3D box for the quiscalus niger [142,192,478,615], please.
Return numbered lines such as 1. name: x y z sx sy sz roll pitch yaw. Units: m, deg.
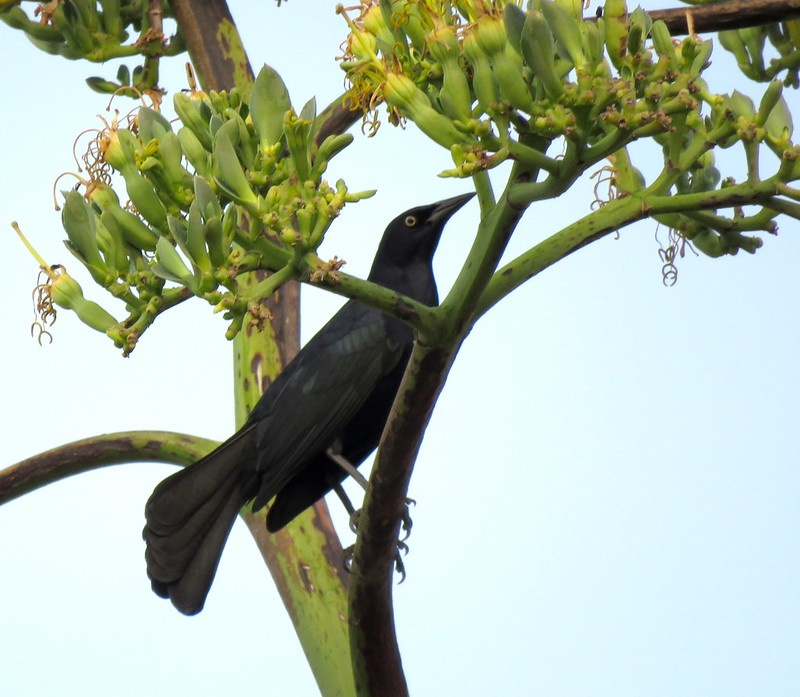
1. quiscalus niger: -0.272 0.183 4.565 1.311 0.475 0.973 -23 -109 14
